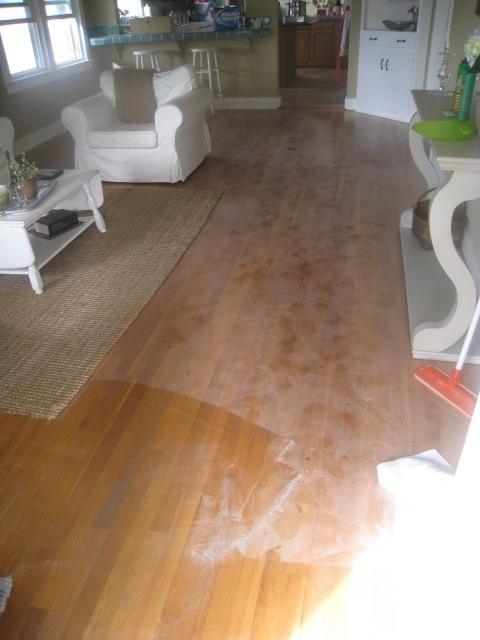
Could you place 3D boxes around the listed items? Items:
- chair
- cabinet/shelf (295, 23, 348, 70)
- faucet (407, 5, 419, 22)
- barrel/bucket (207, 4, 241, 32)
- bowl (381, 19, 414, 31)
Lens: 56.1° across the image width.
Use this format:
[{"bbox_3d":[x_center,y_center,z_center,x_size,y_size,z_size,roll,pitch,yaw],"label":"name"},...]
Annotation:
[{"bbox_3d":[-0.843,-1.696,4.253,1.123,1.119,1.321,5,42,7],"label":"chair"},{"bbox_3d":[1.619,-5.619,9.228,0.888,0.871,0.451,5,31,14],"label":"cabinet/shelf"},{"bbox_3d":[1.994,-3.505,5.186,0.117,0.174,0.540,7,36,17],"label":"faucet"},{"bbox_3d":[-0.181,-3.863,5.796,0.361,0.247,0.186,5,32,12],"label":"barrel/bucket"},{"bbox_3d":[1.869,-3.450,5.295,0.319,0.108,0.463,0,35,5],"label":"bowl"}]
